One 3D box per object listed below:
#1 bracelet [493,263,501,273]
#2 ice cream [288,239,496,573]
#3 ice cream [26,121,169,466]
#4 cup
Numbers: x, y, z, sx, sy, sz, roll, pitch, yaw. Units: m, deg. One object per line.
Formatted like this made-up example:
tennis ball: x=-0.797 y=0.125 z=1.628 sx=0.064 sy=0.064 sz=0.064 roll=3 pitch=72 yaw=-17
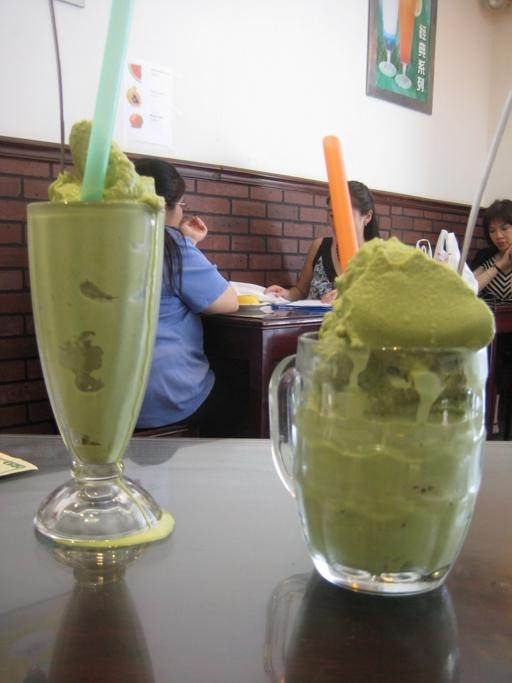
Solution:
bracelet: x=1.854 y=-0.582 z=3.927 sx=0.028 sy=0.077 sz=0.057 roll=21 pitch=20 yaw=26
ice cream: x=0.074 y=0.037 z=0.268 sx=0.107 sy=0.184 sz=0.077 roll=0 pitch=2 yaw=1
ice cream: x=-0.103 y=-0.006 z=0.333 sx=0.085 sy=0.183 sz=0.062 roll=0 pitch=3 yaw=-16
cup: x=0.062 y=0.059 z=0.313 sx=0.091 sy=0.130 sz=0.138 roll=-3 pitch=5 yaw=-31
